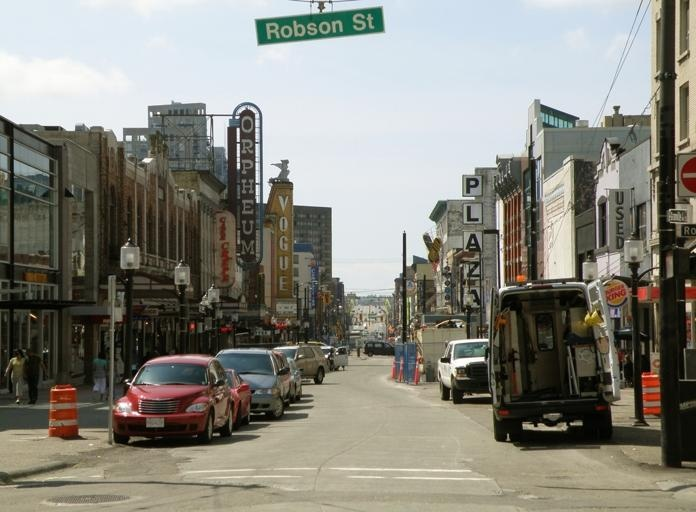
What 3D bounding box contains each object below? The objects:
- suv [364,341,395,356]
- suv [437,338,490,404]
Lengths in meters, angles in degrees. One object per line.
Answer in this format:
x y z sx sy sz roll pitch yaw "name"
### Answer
3.407 10.245 116.471 3.189 1.435 1.890 -4 0 4 "suv"
3.916 3.825 36.923 1.678 2.463 2.202 -1 -6 5 "suv"
